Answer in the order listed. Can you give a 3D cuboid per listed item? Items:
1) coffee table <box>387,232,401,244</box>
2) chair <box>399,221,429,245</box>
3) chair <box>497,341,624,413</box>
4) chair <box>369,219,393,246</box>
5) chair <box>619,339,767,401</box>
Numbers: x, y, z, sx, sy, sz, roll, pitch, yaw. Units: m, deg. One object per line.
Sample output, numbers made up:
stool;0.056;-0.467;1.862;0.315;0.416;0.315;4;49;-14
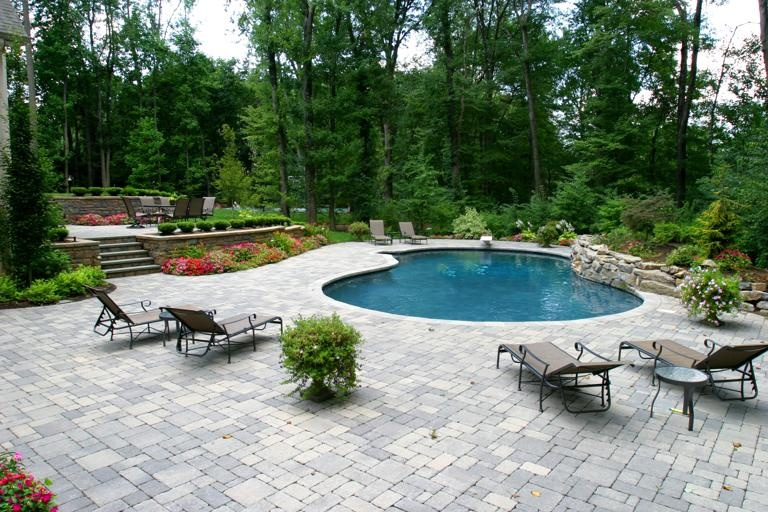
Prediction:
coffee table;0.673;-0.975;28.121;0.853;0.789;0.732;1;-3;-10
chair;1.575;-1.268;26.813;1.345;1.063;1.978;-2;8;0
chair;3.112;2.086;9.138;1.185;0.608;2.070;-2;8;-13
chair;-0.190;-1.235;26.073;0.895;1.182;1.983;-4;8;-9
chair;5.639;1.959;9.538;1.379;0.808;2.340;-3;6;-23
